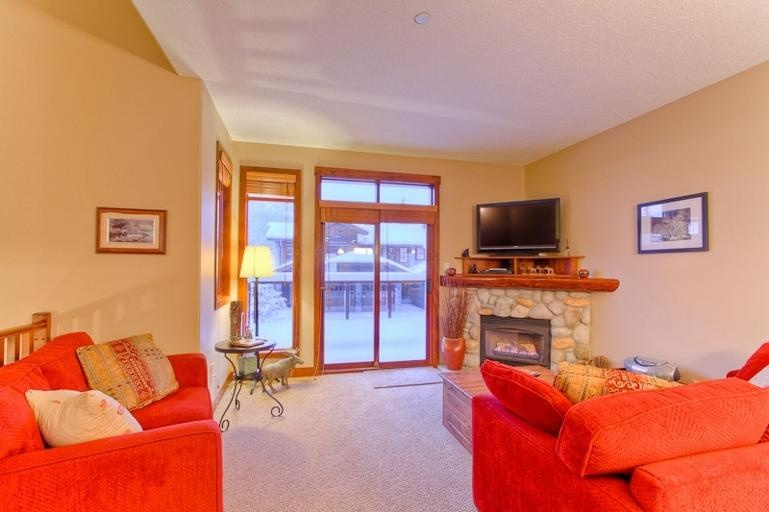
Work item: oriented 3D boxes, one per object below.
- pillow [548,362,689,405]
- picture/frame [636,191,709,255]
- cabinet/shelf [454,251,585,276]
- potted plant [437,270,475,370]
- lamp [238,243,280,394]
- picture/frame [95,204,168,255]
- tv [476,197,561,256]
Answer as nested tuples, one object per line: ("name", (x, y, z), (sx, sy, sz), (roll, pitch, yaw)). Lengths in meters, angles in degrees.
("pillow", (1.627, 0.883, 3.502), (0.495, 0.141, 0.480), (3, -3, -44))
("picture/frame", (2.880, -0.332, 5.015), (0.028, 0.610, 0.663), (2, -3, -26))
("cabinet/shelf", (1.722, 0.092, 6.495), (1.552, 0.375, 0.565), (6, 12, 24))
("potted plant", (0.897, 0.816, 6.514), (0.410, 1.240, 0.693), (2, 12, 6))
("lamp", (-1.448, 0.592, 5.759), (0.344, 1.467, 0.959), (-3, 12, -16))
("picture/frame", (-2.301, -0.239, 4.536), (0.470, 0.361, 0.038), (1, -3, -24))
("tv", (1.698, -0.360, 6.367), (0.754, 0.526, 0.224), (-1, -7, 31))
